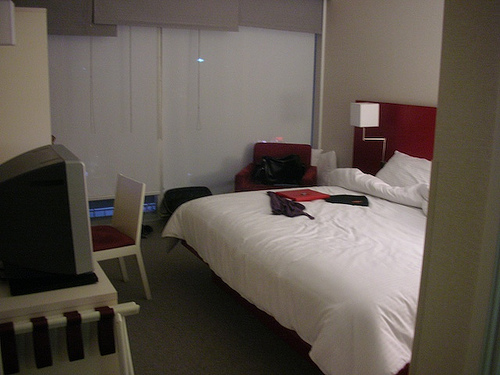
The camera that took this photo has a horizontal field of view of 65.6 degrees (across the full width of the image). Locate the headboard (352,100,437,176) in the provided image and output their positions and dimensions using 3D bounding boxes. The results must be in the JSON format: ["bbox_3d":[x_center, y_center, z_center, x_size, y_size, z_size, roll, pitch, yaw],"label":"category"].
[{"bbox_3d":[1.588,-0.559,4.207,0.041,0.860,0.813,-5,26,-35],"label":"headboard"}]

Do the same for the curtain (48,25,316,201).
[{"bbox_3d":[-0.891,-0.917,4.707,2.240,1.719,0.091,-3,7,-24],"label":"curtain"}]

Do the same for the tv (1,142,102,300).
[{"bbox_3d":[-0.819,0.127,1.567,0.363,0.521,0.335,-5,16,-24],"label":"tv"}]

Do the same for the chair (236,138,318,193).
[{"bbox_3d":[0.379,-0.246,4.955,0.928,0.781,0.679,1,4,-5],"label":"chair"}]

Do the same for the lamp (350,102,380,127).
[{"bbox_3d":[1.327,-0.808,4.451,0.279,0.299,0.289,4,3,12],"label":"lamp"}]

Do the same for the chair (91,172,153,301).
[{"bbox_3d":[-1.063,0.423,3.207,0.439,0.977,0.547,-5,15,-23],"label":"chair"}]

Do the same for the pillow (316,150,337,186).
[{"bbox_3d":[0.996,-0.262,5.099,0.377,0.414,0.363,7,9,34],"label":"pillow"}]

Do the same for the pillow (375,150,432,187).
[{"bbox_3d":[1.543,-0.167,3.865,0.463,0.122,0.523,20,62,36],"label":"pillow"}]
